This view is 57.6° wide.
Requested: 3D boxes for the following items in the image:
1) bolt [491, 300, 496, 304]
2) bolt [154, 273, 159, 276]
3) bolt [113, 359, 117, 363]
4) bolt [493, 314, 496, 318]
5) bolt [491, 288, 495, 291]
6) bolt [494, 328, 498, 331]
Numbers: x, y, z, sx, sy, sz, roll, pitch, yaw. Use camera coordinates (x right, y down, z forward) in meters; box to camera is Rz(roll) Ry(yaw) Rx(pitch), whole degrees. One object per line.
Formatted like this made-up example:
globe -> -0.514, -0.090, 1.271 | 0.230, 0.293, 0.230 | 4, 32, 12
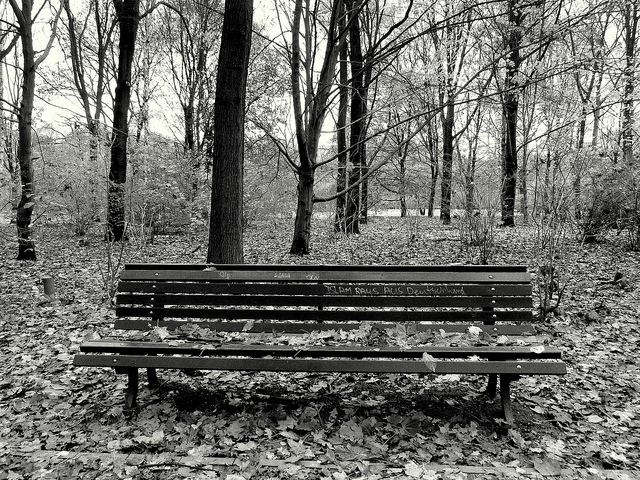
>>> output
bolt -> 2.104, 0.765, 7.113 | 0.039, 0.024, 0.040 | -4, 7, 9
bolt -> -2.055, 0.435, 7.299 | 0.034, 0.034, 0.008 | 0, -5, -8
bolt -> -2.430, 1.434, 6.895 | 0.044, 0.028, 0.008 | 2, 3, -8
bolt -> 2.124, 0.936, 7.141 | 0.031, 0.040, 0.003 | 3, 3, 3
bolt -> 2.103, 0.607, 7.111 | 0.023, 0.032, 0.005 | 2, 3, -6
bolt -> 2.137, 1.103, 7.139 | 0.036, 0.022, 0.036 | 4, 4, 31
